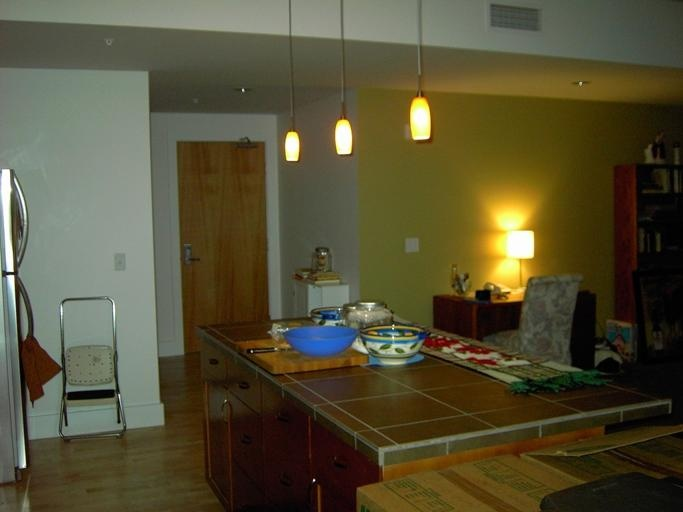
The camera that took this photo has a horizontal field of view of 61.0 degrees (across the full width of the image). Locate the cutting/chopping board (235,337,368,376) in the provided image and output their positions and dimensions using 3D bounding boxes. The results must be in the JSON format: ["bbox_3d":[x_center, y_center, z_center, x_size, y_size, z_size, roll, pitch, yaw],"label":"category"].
[{"bbox_3d":[-0.220,0.485,2.981,0.568,0.056,0.560,-3,8,-19],"label":"cutting/chopping board"}]

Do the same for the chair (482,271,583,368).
[{"bbox_3d":[1.593,0.564,4.772,0.466,0.905,0.576,-1,7,-14],"label":"chair"}]

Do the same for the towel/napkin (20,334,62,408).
[{"bbox_3d":[-2.302,0.847,4.405,0.419,0.439,0.130,-7,19,-22],"label":"towel/napkin"}]

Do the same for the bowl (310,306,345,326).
[{"bbox_3d":[-0.067,0.341,3.271,0.217,0.076,0.137,4,9,30],"label":"bowl"}]

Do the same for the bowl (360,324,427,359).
[{"bbox_3d":[0.258,0.421,2.860,0.322,0.122,0.242,0,7,8],"label":"bowl"}]

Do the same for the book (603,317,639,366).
[{"bbox_3d":[2.923,0.966,6.058,0.305,0.490,0.308,11,-36,16],"label":"book"}]

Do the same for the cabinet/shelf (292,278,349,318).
[{"bbox_3d":[-0.322,0.430,5.834,0.332,0.329,0.160,10,6,14],"label":"cabinet/shelf"}]

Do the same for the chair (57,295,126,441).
[{"bbox_3d":[-1.994,0.886,4.624,0.475,1.075,0.341,-1,-6,-28],"label":"chair"}]
